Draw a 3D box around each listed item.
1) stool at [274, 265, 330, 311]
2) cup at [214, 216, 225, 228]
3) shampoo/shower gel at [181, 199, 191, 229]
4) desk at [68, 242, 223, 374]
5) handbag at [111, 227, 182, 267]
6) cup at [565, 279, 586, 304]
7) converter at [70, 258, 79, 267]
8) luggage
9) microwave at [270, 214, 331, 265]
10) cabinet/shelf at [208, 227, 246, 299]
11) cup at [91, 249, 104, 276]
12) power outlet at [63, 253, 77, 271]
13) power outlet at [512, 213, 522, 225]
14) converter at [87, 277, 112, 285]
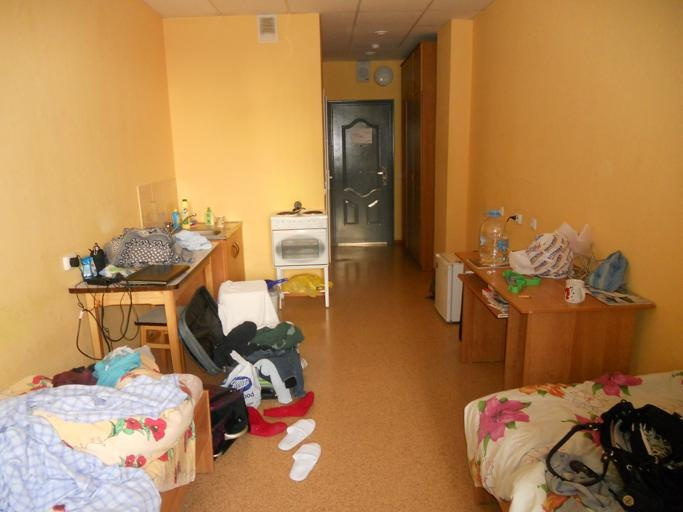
[{"bbox_3d":[-0.370,0.292,5.447,0.479,0.363,0.460,0,9,1],"label":"stool"},{"bbox_3d":[-1.220,-0.336,5.196,0.115,0.097,0.115,0,6,0],"label":"cup"},{"bbox_3d":[-1.554,-0.425,5.199,0.086,0.260,0.392,-6,13,-15],"label":"shampoo/shower gel"},{"bbox_3d":[-1.298,0.623,3.949,0.814,1.045,1.212,2,19,3],"label":"desk"},{"bbox_3d":[-1.381,-0.053,3.623,0.352,0.130,0.288,0,19,-14],"label":"handbag"},{"bbox_3d":[1.347,0.215,2.989,0.143,0.123,0.093,3,8,33],"label":"cup"},{"bbox_3d":[-1.720,0.052,3.374,0.013,0.050,0.054,1,2,37],"label":"converter"},{"bbox_3d":[-0.619,0.797,3.491,0.709,0.429,0.960,1,40,-1],"label":"luggage"},{"bbox_3d":[-0.362,-0.174,5.283,0.667,0.630,0.464,-1,9,-1],"label":"microwave"},{"bbox_3d":[-1.028,0.069,4.619,0.216,0.518,0.558,0,16,-2],"label":"cabinet/shelf"},{"bbox_3d":[-1.637,0.054,3.490,0.053,0.151,0.116,-5,27,-7],"label":"cup"},{"bbox_3d":[-1.742,0.040,3.342,0.022,0.088,0.093,0,9,35],"label":"power outlet"},{"bbox_3d":[1.454,-0.303,4.335,0.033,0.074,0.094,-1,5,-10],"label":"power outlet"},{"bbox_3d":[-1.545,0.165,3.332,0.075,0.019,0.081,1,12,-6],"label":"converter"}]
